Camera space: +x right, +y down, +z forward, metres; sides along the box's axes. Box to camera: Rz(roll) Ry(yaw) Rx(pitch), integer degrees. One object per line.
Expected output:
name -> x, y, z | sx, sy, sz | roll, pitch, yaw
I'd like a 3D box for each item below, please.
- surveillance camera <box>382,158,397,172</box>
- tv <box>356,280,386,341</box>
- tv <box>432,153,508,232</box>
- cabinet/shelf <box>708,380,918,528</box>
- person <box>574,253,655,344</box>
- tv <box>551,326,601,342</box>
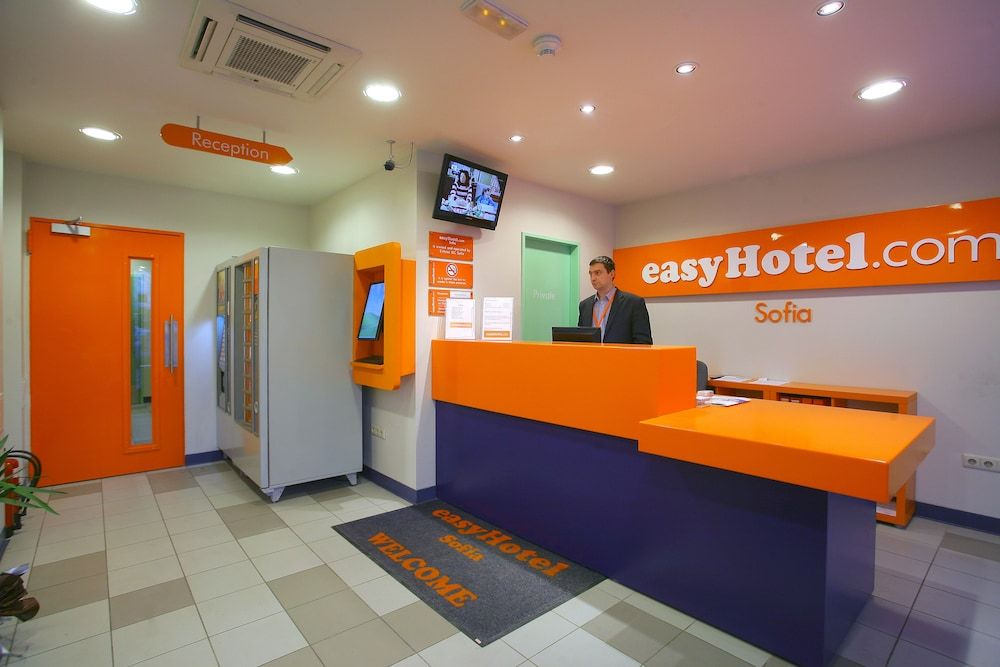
surveillance camera -> -1.033, -1.555, 5.808 | 0.115, 0.143, 0.133 | 2, 28, -2
tv -> -1.271, -0.212, 6.098 | 0.078, 0.796, 0.566 | 12, -9, -35
tv -> -0.286, -1.331, 5.896 | 0.795, 0.584, 0.081 | 3, 12, -44
cabinet/shelf -> 2.776, 1.079, 6.132 | 2.047, 1.301, 0.579 | 4, 12, -3
person -> 1.070, -0.321, 5.925 | 0.419, 0.801, 0.803 | -1, 4, -26
tv -> 0.614, 0.015, 5.029 | 0.372, 0.131, 0.113 | 2, 6, 38
